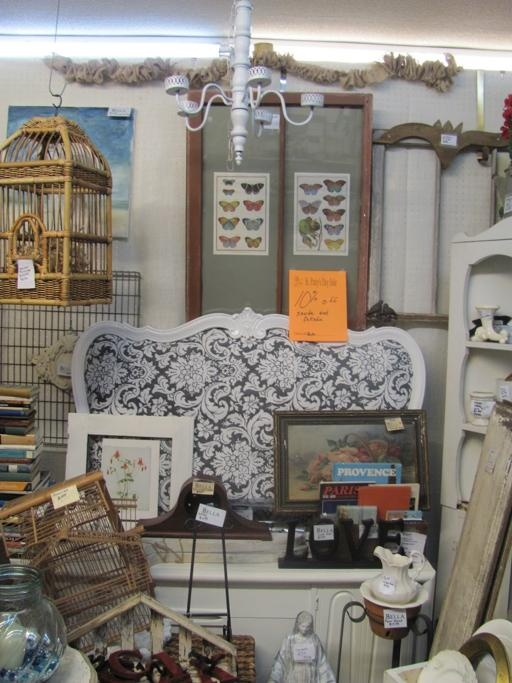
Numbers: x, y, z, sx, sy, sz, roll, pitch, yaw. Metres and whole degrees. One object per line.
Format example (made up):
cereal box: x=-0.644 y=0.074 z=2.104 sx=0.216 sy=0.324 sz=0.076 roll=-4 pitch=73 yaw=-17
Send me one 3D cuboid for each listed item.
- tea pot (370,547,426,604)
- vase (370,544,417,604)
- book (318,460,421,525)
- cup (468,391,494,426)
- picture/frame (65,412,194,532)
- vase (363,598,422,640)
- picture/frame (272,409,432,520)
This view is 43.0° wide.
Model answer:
tea pot: x=0.358 y=0.602 z=1.676 sx=0.124 sy=0.122 sz=0.118 roll=2 pitch=0 yaw=0
vase: x=0.359 y=0.603 z=1.672 sx=0.124 sy=0.121 sz=0.113 roll=-2 pitch=5 yaw=-18
book: x=0.329 y=0.434 z=1.951 sx=0.302 sy=0.123 sz=0.174 roll=-1 pitch=5 yaw=-5
cup: x=0.704 y=0.209 z=2.087 sx=0.096 sy=0.101 sz=0.094 roll=0 pitch=7 yaw=0
picture/frame: x=-0.403 y=0.424 z=2.051 sx=0.398 sy=0.362 sz=0.033 roll=-4 pitch=-14 yaw=22
vase: x=0.344 y=0.702 z=1.636 sx=0.123 sy=0.088 sz=0.121 roll=3 pitch=-6 yaw=-19
picture/frame: x=0.295 y=0.379 z=2.053 sx=0.483 sy=0.334 sz=0.020 roll=-1 pitch=0 yaw=2
